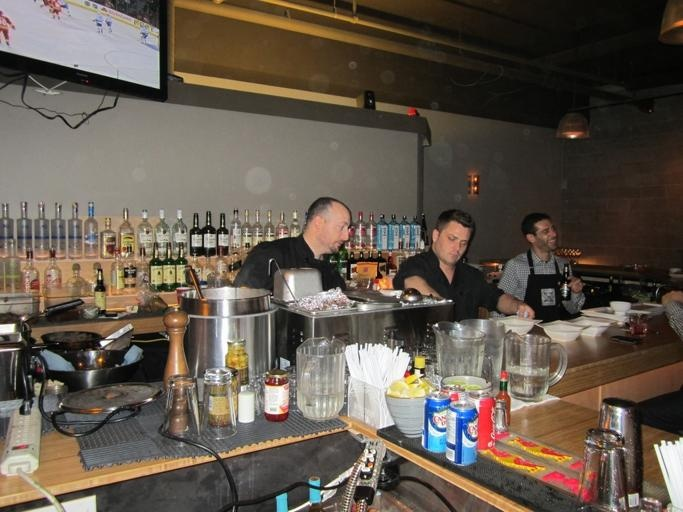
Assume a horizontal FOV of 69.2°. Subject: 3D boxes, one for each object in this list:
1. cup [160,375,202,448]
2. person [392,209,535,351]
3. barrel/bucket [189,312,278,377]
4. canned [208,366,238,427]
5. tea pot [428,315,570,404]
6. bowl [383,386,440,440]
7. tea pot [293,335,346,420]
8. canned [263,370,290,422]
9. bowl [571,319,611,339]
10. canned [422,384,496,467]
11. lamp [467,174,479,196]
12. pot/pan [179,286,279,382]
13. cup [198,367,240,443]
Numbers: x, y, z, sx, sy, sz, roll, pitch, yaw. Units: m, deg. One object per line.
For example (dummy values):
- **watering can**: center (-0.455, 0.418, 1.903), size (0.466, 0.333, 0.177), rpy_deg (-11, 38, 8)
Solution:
- **cup**: center (-0.490, 0.465, 1.511), size (0.156, 0.173, 0.164), rpy_deg (1, 1, 0)
- **person**: center (0.885, 0.155, 3.553), size (0.985, 1.266, 0.801), rpy_deg (-6, 9, -28)
- **barrel/bucket**: center (-0.401, 0.305, 1.864), size (0.297, 0.295, 0.276), rpy_deg (3, 18, -1)
- **canned**: center (-0.383, 0.449, 1.572), size (0.105, 0.173, 0.104), rpy_deg (-2, -4, 0)
- **tea pot**: center (0.596, 0.363, 1.871), size (0.552, 0.258, 0.252), rpy_deg (8, 10, 11)
- **bowl**: center (0.230, 0.501, 1.593), size (0.157, 0.119, 0.164), rpy_deg (-11, -1, 0)
- **tea pot**: center (-0.068, 0.431, 1.644), size (0.164, 0.245, 0.236), rpy_deg (1, 4, 1)
- **canned**: center (-0.216, 0.454, 1.621), size (0.085, 0.158, 0.072), rpy_deg (2, 7, -2)
- **bowl**: center (1.442, 0.407, 2.917), size (0.128, 0.041, 0.171), rpy_deg (-1, 3, -7)
- **canned**: center (0.316, 0.477, 1.446), size (0.193, 0.220, 0.193), rpy_deg (0, 2, 2)
- **lamp**: center (1.870, -1.016, 7.012), size (0.261, 0.314, 0.063), rpy_deg (-5, 10, -43)
- **pot/pan**: center (-0.404, 0.275, 1.890), size (0.317, 0.334, 0.307), rpy_deg (0, 5, -1)
- **cup**: center (-0.374, 0.452, 1.516), size (0.104, 0.188, 0.105), rpy_deg (2, 7, 0)
